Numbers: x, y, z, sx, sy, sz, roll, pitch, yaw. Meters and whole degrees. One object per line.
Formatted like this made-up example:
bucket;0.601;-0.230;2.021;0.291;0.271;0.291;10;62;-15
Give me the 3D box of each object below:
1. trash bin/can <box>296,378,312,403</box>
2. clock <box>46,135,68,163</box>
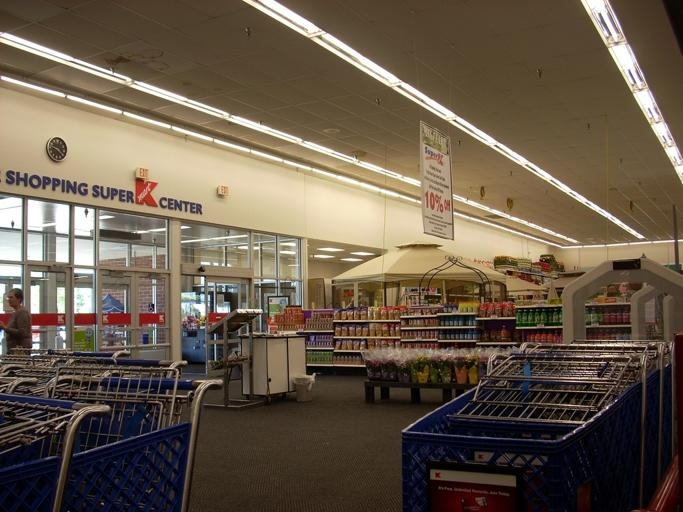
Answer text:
trash bin/can;-0.646;2.294;8.580;0.349;0.431;0.355;-1;-8;0
clock;-5.557;-2.070;9.816;0.064;0.618;0.584;-7;-4;28
